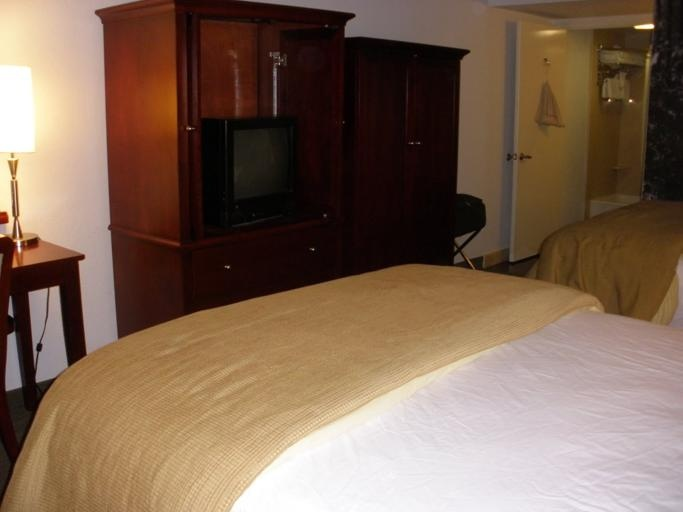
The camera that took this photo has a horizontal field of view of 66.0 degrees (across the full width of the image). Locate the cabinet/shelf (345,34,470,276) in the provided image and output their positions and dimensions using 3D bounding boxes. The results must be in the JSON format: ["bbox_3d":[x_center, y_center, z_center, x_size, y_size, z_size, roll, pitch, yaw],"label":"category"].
[{"bbox_3d":[0.615,-0.616,4.145,0.780,1.855,0.353,-15,31,-25],"label":"cabinet/shelf"}]

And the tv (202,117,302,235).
[{"bbox_3d":[-0.555,-0.519,3.205,0.269,0.601,0.608,13,19,34],"label":"tv"}]
